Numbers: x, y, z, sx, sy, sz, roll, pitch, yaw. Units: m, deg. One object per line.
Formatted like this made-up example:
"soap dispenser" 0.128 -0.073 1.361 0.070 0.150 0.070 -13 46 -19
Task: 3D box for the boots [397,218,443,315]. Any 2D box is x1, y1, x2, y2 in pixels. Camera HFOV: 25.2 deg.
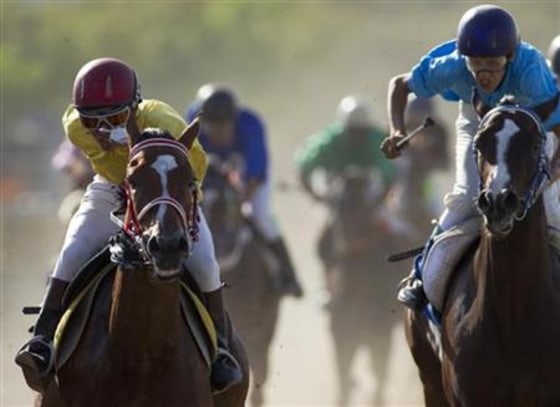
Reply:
"boots" 1.296 0.575 11.608 0.280 0.733 0.542 13 18 -8

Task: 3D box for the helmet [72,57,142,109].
"helmet" -1.536 -1.068 10.855 0.440 0.374 0.492 -8 -34 -7
